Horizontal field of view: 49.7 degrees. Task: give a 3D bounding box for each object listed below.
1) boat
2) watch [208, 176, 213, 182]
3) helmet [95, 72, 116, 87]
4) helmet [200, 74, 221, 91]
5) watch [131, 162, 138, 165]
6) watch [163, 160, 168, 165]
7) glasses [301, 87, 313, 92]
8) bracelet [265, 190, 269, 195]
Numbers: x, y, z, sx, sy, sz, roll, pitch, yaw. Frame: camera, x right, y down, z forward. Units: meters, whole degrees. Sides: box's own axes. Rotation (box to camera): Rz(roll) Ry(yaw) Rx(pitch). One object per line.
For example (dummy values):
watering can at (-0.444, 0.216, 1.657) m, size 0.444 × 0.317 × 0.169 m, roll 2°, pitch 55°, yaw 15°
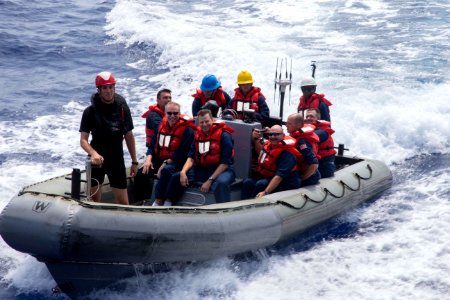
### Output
boat at (-0.370, 0.990, 8.360) m, size 5.370 × 1.786 × 2.973 m, roll -18°, pitch 33°, yaw -37°
watch at (-0.242, 0.505, 8.477) m, size 0.058 × 0.064 × 0.074 m, roll 2°, pitch 34°, yaw -9°
helmet at (-1.958, -1.117, 7.839) m, size 0.245 × 0.195 × 0.298 m, roll -12°, pitch -6°, yaw -34°
helmet at (-0.266, -1.326, 9.539) m, size 0.367 × 0.189 × 0.362 m, roll 13°, pitch 45°, yaw 32°
watch at (-1.545, 0.233, 8.365) m, size 0.088 × 0.049 × 0.083 m, roll 2°, pitch -2°, yaw 12°
watch at (-1.068, 0.225, 8.892) m, size 0.108 × 0.080 × 0.060 m, roll 1°, pitch 42°, yaw -8°
glasses at (1.724, -1.254, 10.121) m, size 0.129 × 0.038 × 0.119 m, roll -2°, pitch -27°, yaw 19°
bracelet at (0.740, 0.757, 8.578) m, size 0.060 × 0.069 × 0.079 m, roll -2°, pitch 34°, yaw -26°
